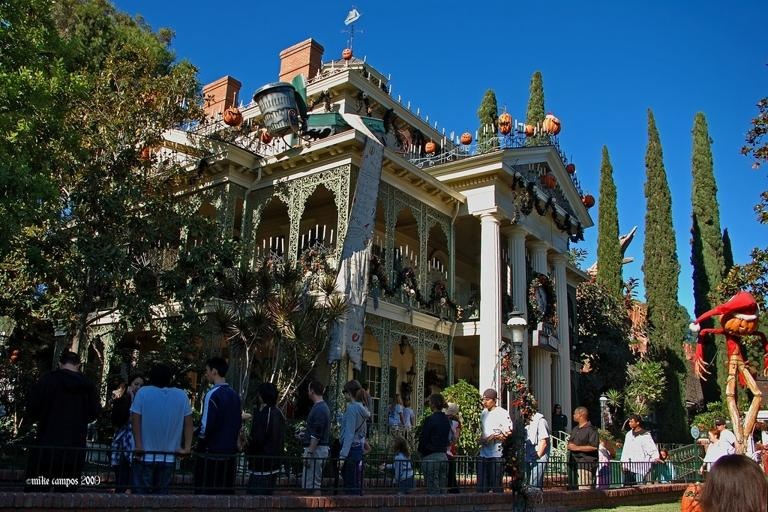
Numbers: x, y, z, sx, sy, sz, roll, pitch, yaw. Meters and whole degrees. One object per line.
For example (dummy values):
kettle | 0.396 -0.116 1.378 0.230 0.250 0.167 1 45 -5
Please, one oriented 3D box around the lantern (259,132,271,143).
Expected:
lantern | -4.061 -4.124 24.682 0.323 0.394 0.318 -9 -22 -44

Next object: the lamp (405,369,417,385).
lamp | 1.065 4.574 27.937 0.562 0.780 0.514 1 -24 4

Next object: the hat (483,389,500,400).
hat | 2.402 3.046 16.032 0.207 0.173 0.336 -3 -17 38

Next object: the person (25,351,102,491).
person | -5.638 2.835 12.595 1.127 2.394 0.788 9 -20 -21

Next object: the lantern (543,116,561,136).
lantern | 7.014 -5.537 29.974 0.635 0.881 0.700 -1 -19 7

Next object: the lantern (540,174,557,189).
lantern | 6.668 -3.048 28.901 0.550 0.676 0.566 -2 -9 40

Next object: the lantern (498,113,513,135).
lantern | 4.601 -5.026 27.368 0.528 0.807 0.310 -6 -20 21

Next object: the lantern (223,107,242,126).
lantern | -5.391 -5.011 25.651 0.685 0.724 0.702 1 -12 -11

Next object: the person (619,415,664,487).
person | 6.767 5.006 18.635 0.505 1.669 0.981 -8 0 -19
